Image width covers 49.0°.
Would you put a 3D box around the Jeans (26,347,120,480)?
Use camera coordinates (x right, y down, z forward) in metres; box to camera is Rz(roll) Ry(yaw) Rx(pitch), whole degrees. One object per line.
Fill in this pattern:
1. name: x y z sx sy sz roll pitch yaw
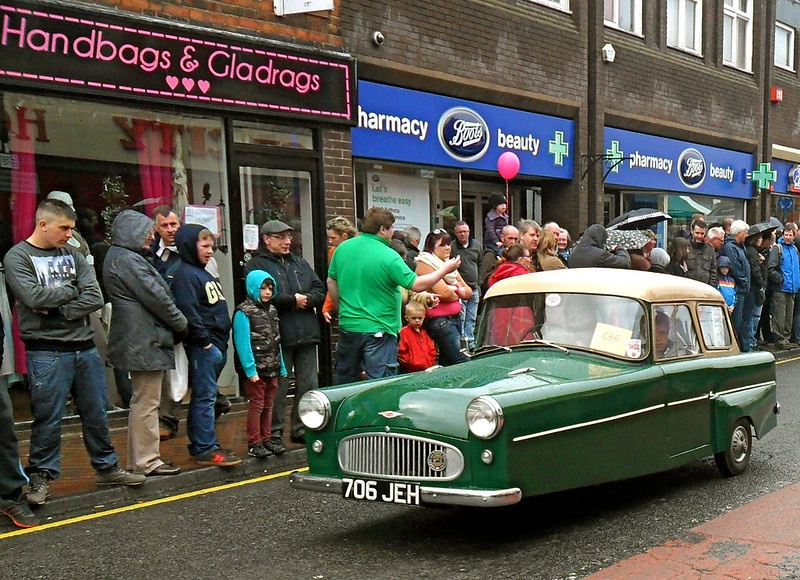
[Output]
1. Jeans: -3.162 1.114 8.484 0.826 1.423 0.377 -5 16 -30

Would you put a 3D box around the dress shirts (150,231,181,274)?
1. dress shirts: -2.582 -0.349 9.615 0.302 0.326 0.418 1 4 -3

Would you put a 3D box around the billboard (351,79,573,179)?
1. billboard: 1.089 -2.726 15.668 5.424 1.106 0.710 -1 7 -39

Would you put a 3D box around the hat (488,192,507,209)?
1. hat: 1.537 -1.428 14.174 0.244 0.240 0.190 -12 13 23

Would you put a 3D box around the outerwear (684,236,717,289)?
1. outerwear: 4.698 -0.421 13.943 0.692 0.795 0.399 7 -15 -14

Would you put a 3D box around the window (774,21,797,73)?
1. window: 10.525 -6.717 24.361 0.164 1.798 1.525 -8 -9 39

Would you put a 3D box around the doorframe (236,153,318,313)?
1. doorframe: -1.672 -0.946 11.747 1.171 2.274 0.157 0 -37 -9

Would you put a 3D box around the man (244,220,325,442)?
1. man: -1.241 0.423 10.092 0.863 2.484 0.754 -9 5 -38

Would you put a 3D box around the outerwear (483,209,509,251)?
1. outerwear: 1.489 -1.020 14.022 0.317 0.603 0.449 9 18 22

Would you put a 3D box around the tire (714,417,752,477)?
1. tire: 3.279 1.557 8.789 0.187 0.558 0.527 -1 13 44

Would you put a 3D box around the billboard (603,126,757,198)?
1. billboard: 6.561 -2.812 20.415 5.490 1.173 0.053 1 3 -36

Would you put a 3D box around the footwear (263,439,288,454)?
1. footwear: -1.370 1.696 9.562 0.251 0.107 0.112 2 7 32

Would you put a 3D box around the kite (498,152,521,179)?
1. kite: 1.784 -2.053 14.835 0.426 0.554 0.441 -1 -4 4

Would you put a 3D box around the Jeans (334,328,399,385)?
1. Jeans: -0.449 0.783 9.739 0.660 0.932 0.316 3 26 0

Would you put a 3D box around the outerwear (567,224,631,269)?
1. outerwear: 2.631 -0.560 11.689 0.463 0.868 0.553 -21 35 -30

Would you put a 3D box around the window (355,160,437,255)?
1. window: -0.048 -1.291 14.846 1.340 1.409 0.115 1 -7 -34

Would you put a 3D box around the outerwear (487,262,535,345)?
1. outerwear: 1.087 0.164 8.784 0.607 0.880 0.444 -4 -21 15

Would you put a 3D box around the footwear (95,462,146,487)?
1. footwear: -2.755 1.821 8.721 0.535 0.242 0.187 0 -2 -5

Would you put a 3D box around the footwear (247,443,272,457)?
1. footwear: -1.536 1.725 9.512 0.257 0.116 0.114 -3 -2 40

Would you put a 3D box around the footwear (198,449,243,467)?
1. footwear: -1.884 1.737 9.248 0.479 0.219 0.181 0 -1 -3

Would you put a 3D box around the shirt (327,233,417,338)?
1. shirt: -0.373 -0.047 9.711 1.262 1.108 0.510 7 1 30

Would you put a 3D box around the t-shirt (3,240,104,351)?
1. t-shirt: -3.271 0.060 8.343 0.822 1.039 0.382 -6 11 -26

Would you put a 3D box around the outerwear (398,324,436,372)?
1. outerwear: 0.160 0.694 10.424 0.572 0.680 0.331 -1 -2 -44

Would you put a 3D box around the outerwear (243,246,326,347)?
1. outerwear: -1.329 0.106 10.134 0.944 1.173 0.623 -5 -3 -44
